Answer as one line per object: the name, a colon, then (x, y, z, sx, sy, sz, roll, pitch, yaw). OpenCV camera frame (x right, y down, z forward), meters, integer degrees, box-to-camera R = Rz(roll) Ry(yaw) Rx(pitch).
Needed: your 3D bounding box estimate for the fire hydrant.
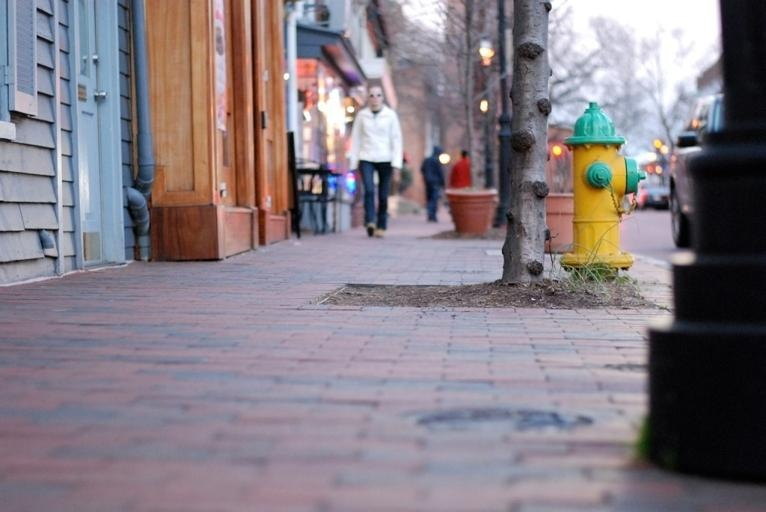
fire hydrant: (2.019, -0.621, 7.199, 0.690, 1.620, 0.704, 2, 8, 14)

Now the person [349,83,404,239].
person: (-0.131, -1.726, 14.092, 0.919, 2.730, 1.194, 0, 7, -3)

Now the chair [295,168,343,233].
chair: (-1.249, -1.177, 15.224, 1.076, 1.134, 1.509, 0, 5, 6)
